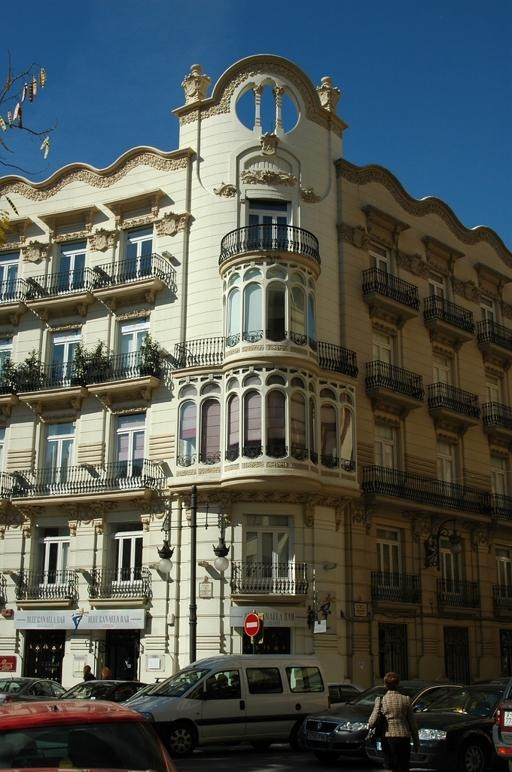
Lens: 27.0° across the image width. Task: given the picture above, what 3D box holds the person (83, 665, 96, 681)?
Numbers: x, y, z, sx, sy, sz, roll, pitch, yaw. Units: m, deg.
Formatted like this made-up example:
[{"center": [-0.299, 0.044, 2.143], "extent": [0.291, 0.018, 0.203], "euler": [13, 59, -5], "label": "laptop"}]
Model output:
[{"center": [-4.719, 8.148, 30.203], "extent": [0.281, 0.429, 1.328], "euler": [5, -19, -8], "label": "person"}]

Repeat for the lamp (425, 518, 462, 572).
[{"center": [6.616, 5.626, 37.347], "extent": [0.479, 1.911, 2.502], "euler": [-10, -23, 30], "label": "lamp"}]
